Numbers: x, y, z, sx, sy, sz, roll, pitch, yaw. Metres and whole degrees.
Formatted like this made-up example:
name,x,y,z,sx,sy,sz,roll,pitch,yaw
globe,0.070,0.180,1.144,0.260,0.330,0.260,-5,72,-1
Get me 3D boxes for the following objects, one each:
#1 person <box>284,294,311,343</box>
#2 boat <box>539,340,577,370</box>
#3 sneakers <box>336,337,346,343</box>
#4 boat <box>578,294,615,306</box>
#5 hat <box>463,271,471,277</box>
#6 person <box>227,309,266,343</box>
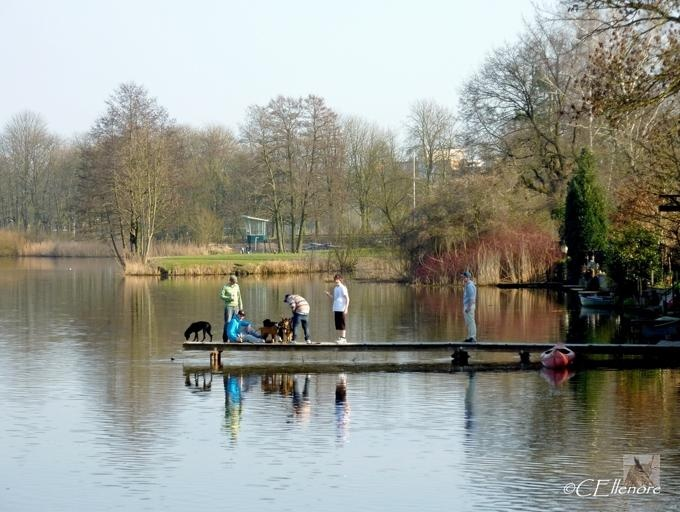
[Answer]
name,x,y,z,sx,sy,sz,roll,pitch,yaw
person,-1.142,1.771,35.941,0.617,1.373,1.329,-1,12,-2
boat,5.698,2.643,34.418,0.834,0.606,0.784,-2,12,-5
sneakers,0.015,2.288,35.449,0.312,0.152,0.108,1,4,33
boat,9.121,1.603,46.968,1.107,0.505,0.491,1,12,10
hat,3.533,0.514,36.481,0.284,0.163,0.388,2,1,-7
person,-2.594,1.944,35.868,0.943,0.806,0.689,3,10,-6
